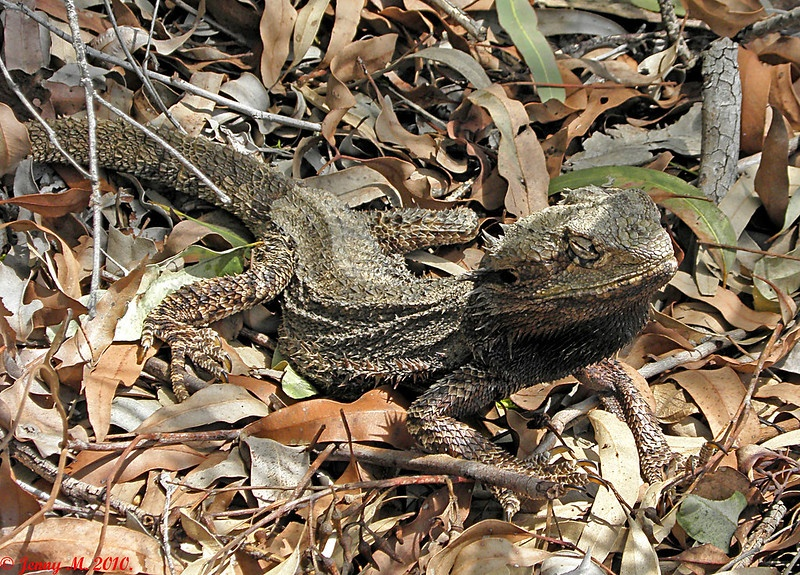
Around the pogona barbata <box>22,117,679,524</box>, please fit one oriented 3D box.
[{"bbox_3d":[-0.020,-0.010,3.218,2.615,0.833,1.206,26,70,12],"label":"pogona barbata"}]
